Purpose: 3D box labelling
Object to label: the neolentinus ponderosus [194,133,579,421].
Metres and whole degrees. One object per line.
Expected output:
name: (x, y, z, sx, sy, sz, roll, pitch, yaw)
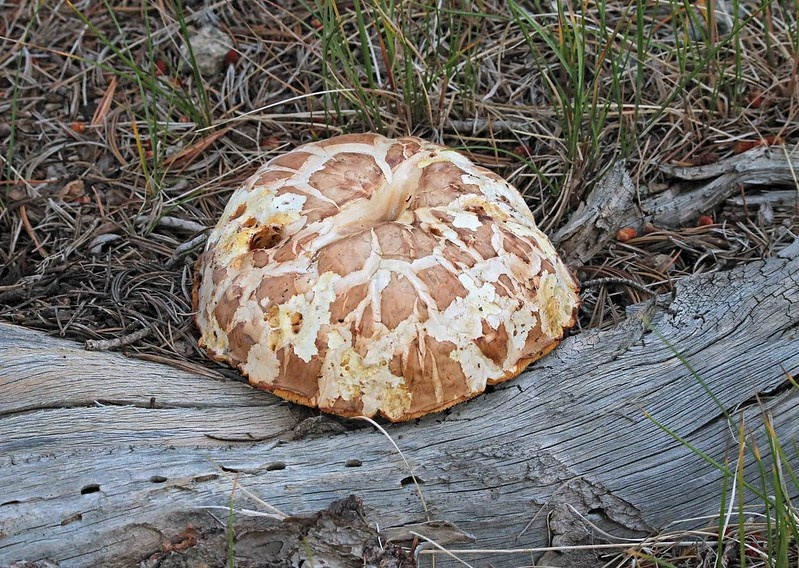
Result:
neolentinus ponderosus: (0.004, -0.053, 5.379, 2.132, 1.542, 1.889, 1, 21, 6)
